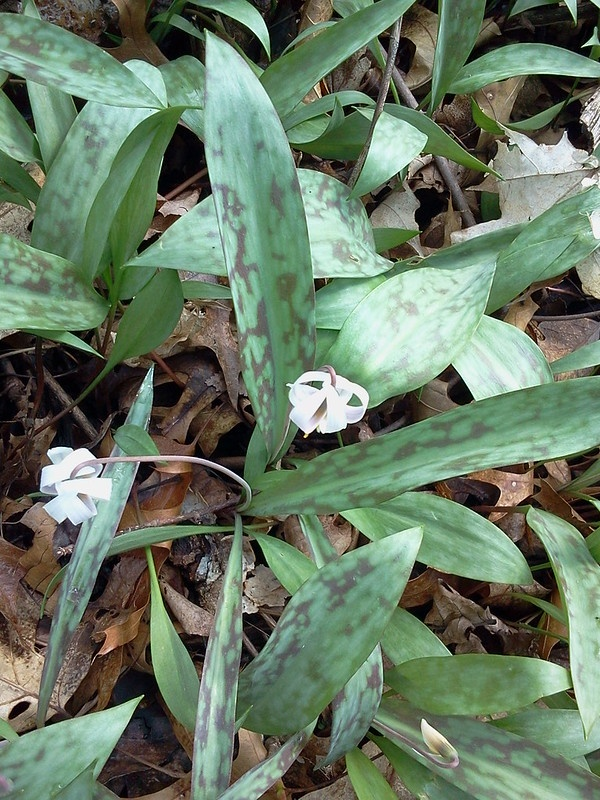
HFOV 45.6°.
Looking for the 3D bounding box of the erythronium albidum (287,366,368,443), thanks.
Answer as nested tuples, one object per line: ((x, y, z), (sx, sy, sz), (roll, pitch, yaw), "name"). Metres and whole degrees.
((0.033, 0.010, 1.125), (0.117, 0.085, 0.114), (30, 71, 2), "erythronium albidum")

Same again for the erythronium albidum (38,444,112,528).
((-0.323, 0.117, 1.001), (0.091, 0.088, 0.103), (-30, 65, -21), "erythronium albidum")
